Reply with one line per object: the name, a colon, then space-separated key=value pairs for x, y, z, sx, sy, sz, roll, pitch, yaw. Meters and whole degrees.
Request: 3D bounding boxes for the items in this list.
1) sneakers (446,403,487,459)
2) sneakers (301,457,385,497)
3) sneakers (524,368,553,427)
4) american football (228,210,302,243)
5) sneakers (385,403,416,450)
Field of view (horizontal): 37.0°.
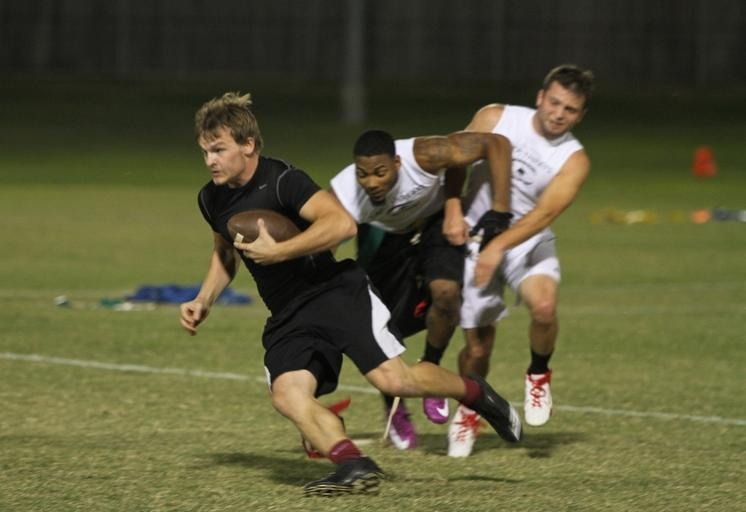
sneakers: x=0.725 y=1.368 z=8.773 sx=0.183 sy=0.458 sz=0.229 roll=18 pitch=-2 yaw=14
sneakers: x=-0.255 y=1.571 z=7.945 sx=0.666 sy=0.239 sz=0.254 roll=-15 pitch=-22 yaw=41
sneakers: x=1.323 y=1.126 z=8.941 sx=0.188 sy=0.467 sz=0.209 roll=0 pitch=-31 yaw=11
american football: x=-0.778 y=-0.204 z=8.076 sx=0.479 sy=0.223 sz=0.229 roll=7 pitch=0 yaw=4
sneakers: x=0.205 y=1.353 z=8.884 sx=0.166 sy=0.375 sz=0.177 roll=-7 pitch=-10 yaw=-3
